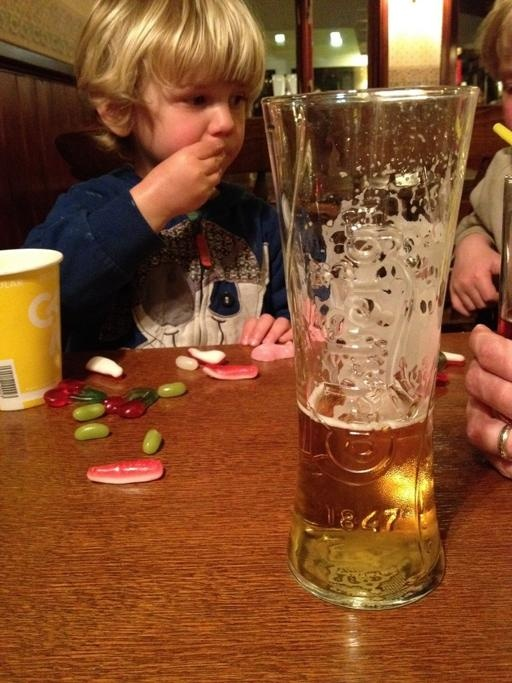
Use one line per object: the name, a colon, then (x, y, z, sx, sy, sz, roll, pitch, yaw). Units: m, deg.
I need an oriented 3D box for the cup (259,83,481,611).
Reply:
cup: (0.059, 0.013, 0.317, 0.094, 0.222, 0.088, -3, 15, 1)
